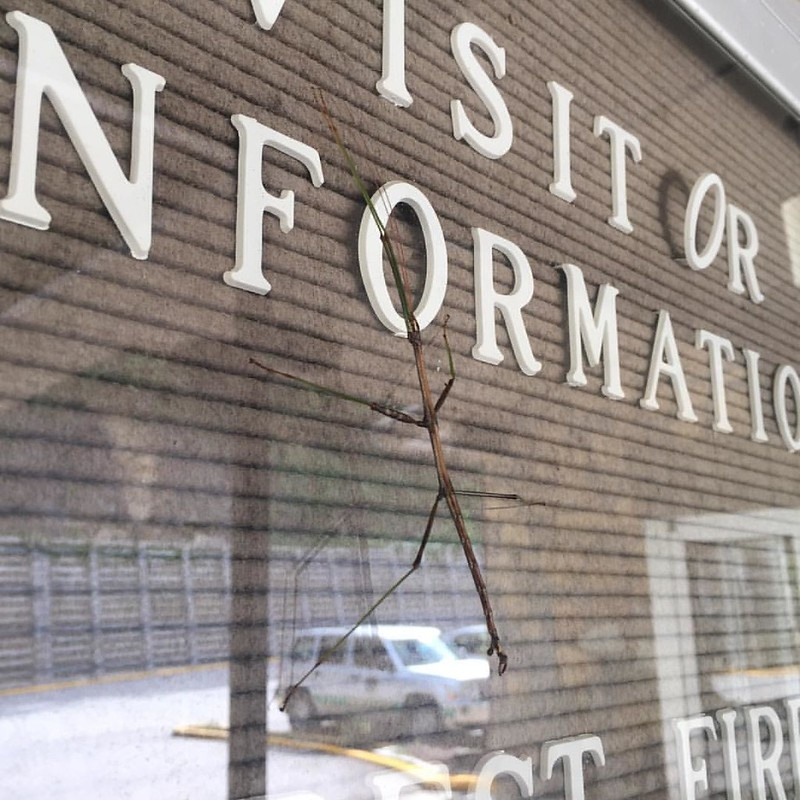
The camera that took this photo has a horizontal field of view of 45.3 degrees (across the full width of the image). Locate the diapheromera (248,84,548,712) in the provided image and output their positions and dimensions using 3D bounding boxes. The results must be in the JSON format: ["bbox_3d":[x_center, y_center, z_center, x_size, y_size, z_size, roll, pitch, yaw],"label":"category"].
[{"bbox_3d":[0.034,-0.007,1.803,0.210,0.969,0.739,-18,-27,36],"label":"diapheromera"}]
